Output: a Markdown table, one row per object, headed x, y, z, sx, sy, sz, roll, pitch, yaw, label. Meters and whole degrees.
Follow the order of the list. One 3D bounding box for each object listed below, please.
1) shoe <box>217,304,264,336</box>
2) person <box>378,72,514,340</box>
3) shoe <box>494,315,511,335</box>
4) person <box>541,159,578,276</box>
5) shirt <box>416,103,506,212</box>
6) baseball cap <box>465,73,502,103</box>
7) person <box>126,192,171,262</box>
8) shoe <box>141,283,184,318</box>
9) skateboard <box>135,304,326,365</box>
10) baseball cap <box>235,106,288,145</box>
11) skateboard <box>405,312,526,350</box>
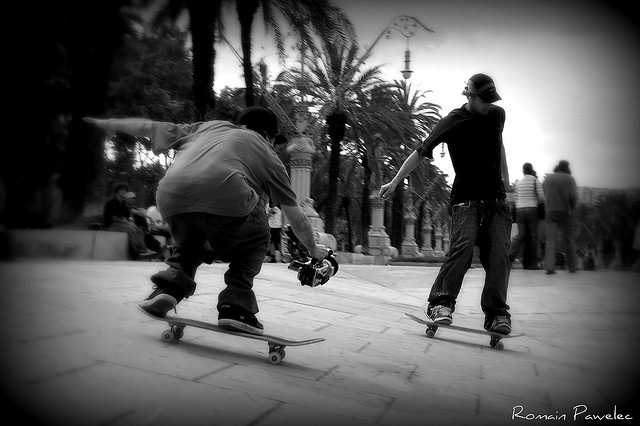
| x | y | z | sx | sy | sz | roll | pitch | yaw | label |
| --- | --- | --- | --- | --- | --- | --- | --- | --- | --- |
| -0.562 | 0.745 | 3.642 | 0.390 | 0.171 | 0.142 | 19 | -10 | -11 | shoe |
| 1.223 | -0.089 | 4.523 | 0.850 | 2.163 | 0.522 | 1 | 0 | 14 | person |
| 1.492 | 0.908 | 4.268 | 0.118 | 0.139 | 0.114 | 1 | 0 | 18 | shoe |
| 4.448 | 0.072 | 9.613 | 0.630 | 2.179 | 0.740 | 2 | 0 | 35 | person |
| 1.265 | -0.511 | 4.576 | 0.679 | 0.873 | 0.204 | 1 | 0 | 17 | shirt |
| 1.418 | -1.110 | 4.503 | 0.257 | 0.175 | 0.351 | -14 | 32 | -29 | baseball cap |
| -2.924 | 0.310 | 8.747 | 0.301 | 1.122 | 1.213 | -13 | -5 | -16 | person |
| -1.162 | 0.600 | 3.693 | 0.135 | 0.157 | 0.361 | 15 | -31 | -42 | shoe |
| -0.671 | 0.877 | 3.720 | 0.922 | 0.145 | 0.195 | 12 | -5 | 9 | skateboard |
| -0.414 | -0.652 | 3.895 | 0.361 | 0.202 | 0.244 | 16 | 7 | -32 | baseball cap |
| 1.247 | 1.033 | 4.515 | 0.789 | 0.124 | 0.178 | 10 | -6 | 12 | skateboard |
